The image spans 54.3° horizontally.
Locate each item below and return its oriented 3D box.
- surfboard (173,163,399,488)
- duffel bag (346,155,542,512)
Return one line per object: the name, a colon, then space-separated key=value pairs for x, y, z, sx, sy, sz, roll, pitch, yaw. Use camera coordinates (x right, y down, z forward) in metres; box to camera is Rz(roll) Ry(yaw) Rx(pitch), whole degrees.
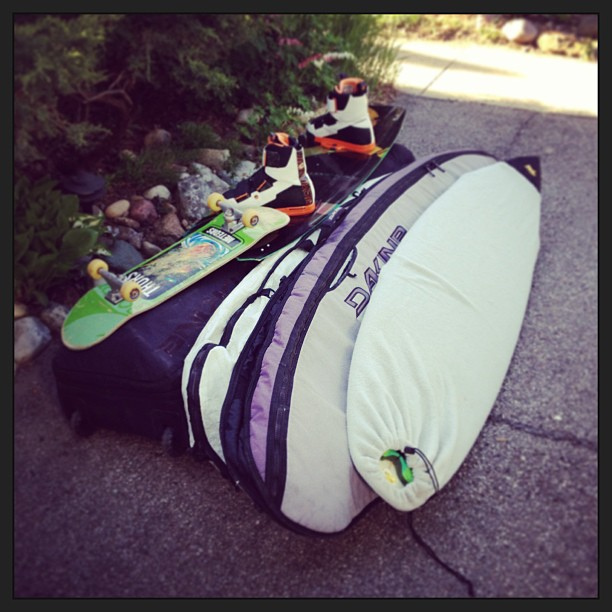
surfboard: x=-0.106 y=0.110 z=2.183 sx=0.132 sy=0.420 sz=0.942 roll=43 pitch=64 yaw=-15
duffel bag: x=0.500 y=0.133 z=2.114 sx=0.646 sy=0.720 sz=1.160 roll=15 pitch=41 yaw=20
